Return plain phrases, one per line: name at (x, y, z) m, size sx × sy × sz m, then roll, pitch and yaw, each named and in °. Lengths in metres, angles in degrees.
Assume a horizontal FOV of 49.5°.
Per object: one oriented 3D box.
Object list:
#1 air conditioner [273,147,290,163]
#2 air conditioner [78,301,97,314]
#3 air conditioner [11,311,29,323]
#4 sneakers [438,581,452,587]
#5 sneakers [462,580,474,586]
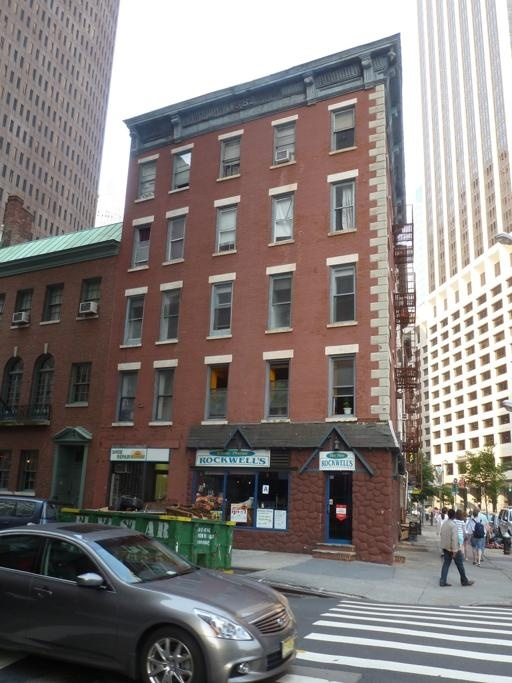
air conditioner at (1.034, -7.398, 22.120) m, size 0.735 × 0.561 × 0.412 m, roll -3°, pitch -12°, yaw 29°
air conditioner at (-7.578, -1.522, 25.140) m, size 0.897 × 0.655 × 0.431 m, roll -8°, pitch -19°, yaw 22°
air conditioner at (-11.407, -1.138, 27.032) m, size 0.918 × 0.632 × 0.343 m, roll -9°, pitch -20°, yaw 25°
sneakers at (4.254, 5.444, 12.581) m, size 0.244 × 0.116 × 0.568 m, roll -6°, pitch -18°, yaw 17°
sneakers at (4.819, 5.516, 12.770) m, size 0.232 × 0.128 × 0.587 m, roll -8°, pitch -19°, yaw 23°
